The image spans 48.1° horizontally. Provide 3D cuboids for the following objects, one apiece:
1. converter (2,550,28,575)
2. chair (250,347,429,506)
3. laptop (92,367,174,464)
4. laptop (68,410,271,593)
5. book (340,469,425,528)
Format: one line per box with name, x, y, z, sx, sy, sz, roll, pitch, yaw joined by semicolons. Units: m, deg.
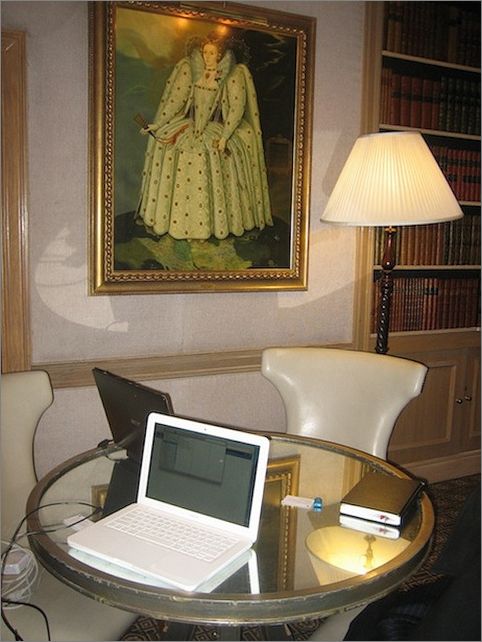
converter;-0.503;0.545;1.203;0.047;0.056;0.068;1;3;-13
chair;0.356;0.527;2.018;0.615;0.748;0.547;-1;25;-1
laptop;-0.285;0.260;1.497;0.184;0.236;0.230;6;7;44
laptop;-0.132;0.328;1.017;0.307;0.188;0.276;4;8;35
book;0.322;0.399;1.211;0.147;0.033;0.154;1;13;37
